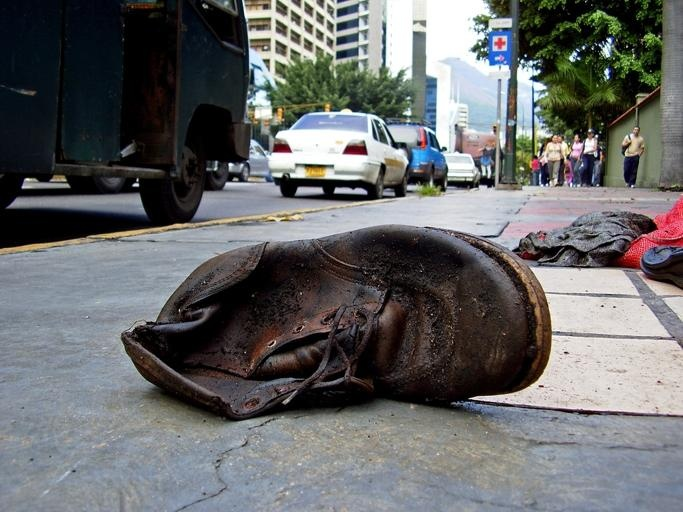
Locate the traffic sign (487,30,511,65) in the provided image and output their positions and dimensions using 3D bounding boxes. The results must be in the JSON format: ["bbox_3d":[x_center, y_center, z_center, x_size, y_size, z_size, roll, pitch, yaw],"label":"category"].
[{"bbox_3d":[4.311,-5.644,19.037,0.577,0.873,0.475,3,11,10],"label":"traffic sign"}]

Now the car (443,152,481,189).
[{"bbox_3d":[4.492,-3.165,26.312,1.167,1.264,1.970,2,11,8],"label":"car"}]

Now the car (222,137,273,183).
[{"bbox_3d":[-3.302,-3.356,24.558,1.184,1.450,2.918,9,11,23],"label":"car"}]

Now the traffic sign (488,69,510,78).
[{"bbox_3d":[4.362,-5.017,19.285,0.547,0.268,0.876,4,12,14],"label":"traffic sign"}]

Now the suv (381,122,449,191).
[{"bbox_3d":[1.964,-2.696,18.209,1.089,1.310,2.650,1,15,16],"label":"suv"}]
